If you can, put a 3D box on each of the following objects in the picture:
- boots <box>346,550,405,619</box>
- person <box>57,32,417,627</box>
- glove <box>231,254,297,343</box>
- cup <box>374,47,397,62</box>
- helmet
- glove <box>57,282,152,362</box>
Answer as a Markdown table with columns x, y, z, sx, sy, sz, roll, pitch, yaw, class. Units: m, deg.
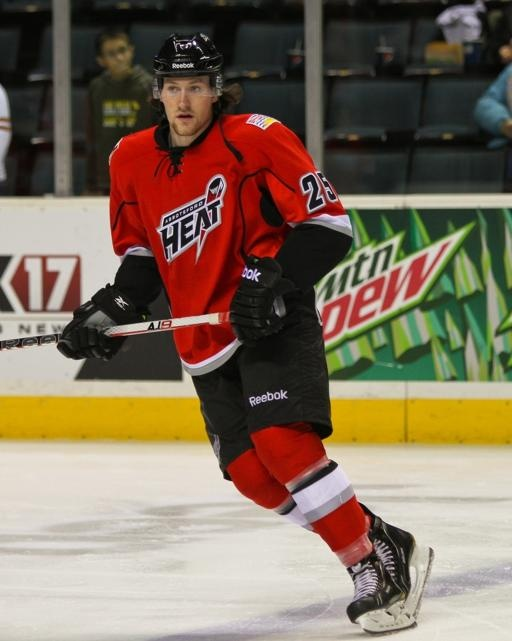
| x | y | z | sx | sy | sz | roll | pitch | yaw | class |
| --- | --- | --- | --- | --- | --- | --- | --- | --- | --- |
| 0.262 | 0.576 | 1.945 | 0.123 | 0.123 | 0.111 | -1 | 2 | 6 | boots |
| -0.024 | -0.001 | 2.109 | 0.771 | 1.351 | 0.395 | 1 | 4 | 37 | person |
| 0.012 | -0.041 | 1.887 | 0.130 | 0.180 | 0.060 | -1 | 3 | 0 | glove |
| 0.669 | -1.373 | 4.615 | 0.088 | 0.083 | 0.038 | 0 | 8 | 7 | cup |
| -0.146 | -0.583 | 2.037 | 0.171 | 0.111 | 0.176 | 1 | 23 | 3 | helmet |
| -0.383 | 0.014 | 2.214 | 0.243 | 0.093 | 0.152 | -21 | 26 | 30 | glove |
